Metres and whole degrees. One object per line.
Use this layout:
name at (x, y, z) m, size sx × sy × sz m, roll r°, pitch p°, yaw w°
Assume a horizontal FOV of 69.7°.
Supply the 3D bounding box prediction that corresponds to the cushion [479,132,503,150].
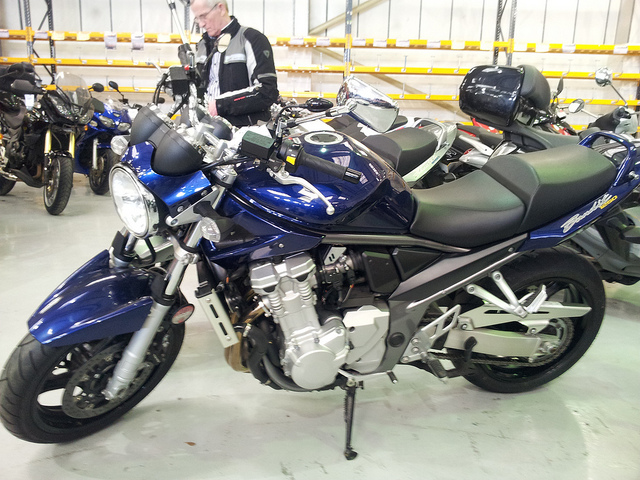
cushion at (1.359, -0.786, 3.652) m, size 0.185 × 0.069 × 0.252 m, roll 28°, pitch 28°, yaw 32°

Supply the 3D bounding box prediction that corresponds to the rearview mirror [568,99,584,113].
rearview mirror at (1.873, -0.997, 3.367) m, size 0.103 × 0.042 × 0.127 m, roll 21°, pitch 60°, yaw 38°

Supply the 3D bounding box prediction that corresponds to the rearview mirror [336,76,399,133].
rearview mirror at (0.256, -0.615, 2.119) m, size 0.375 × 0.176 × 0.116 m, roll 22°, pitch 27°, yaw -5°
